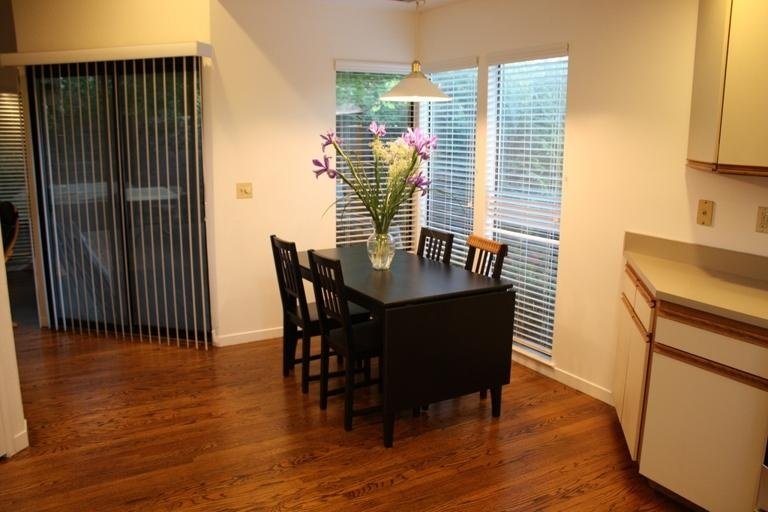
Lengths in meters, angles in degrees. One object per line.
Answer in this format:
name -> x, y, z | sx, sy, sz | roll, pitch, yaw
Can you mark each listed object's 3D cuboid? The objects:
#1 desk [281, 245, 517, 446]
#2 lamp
desk -> 0.267, 0.637, 4.519 | 1.231, 1.093, 1.186 | -8, 16, -21
lamp -> 0.337, -1.602, 4.506 | 0.606, 0.915, 0.589 | 2, 17, 11
